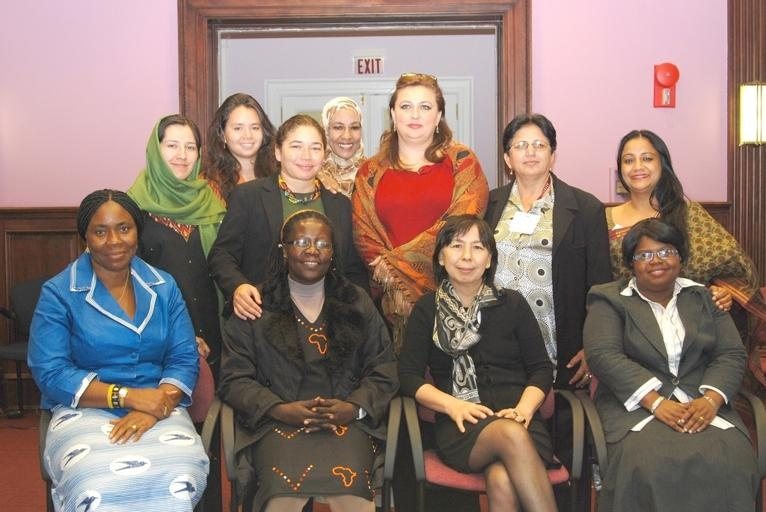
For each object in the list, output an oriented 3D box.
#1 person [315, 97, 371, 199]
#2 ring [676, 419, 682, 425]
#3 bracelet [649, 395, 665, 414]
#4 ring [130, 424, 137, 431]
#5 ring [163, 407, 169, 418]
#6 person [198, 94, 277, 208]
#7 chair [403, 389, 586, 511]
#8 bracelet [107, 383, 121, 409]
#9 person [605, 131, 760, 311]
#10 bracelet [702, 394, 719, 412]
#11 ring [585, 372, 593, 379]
[{"bbox_3d":[-0.295,-0.725,4.877,0.401,0.915,0.310,-6,34,-14],"label":"person"},{"bbox_3d":[1.499,0.841,3.348,0.023,0.022,0.009,-25,-10,16],"label":"ring"},{"bbox_3d":[1.409,0.761,3.406,0.032,0.082,0.062,22,-1,-15],"label":"bracelet"},{"bbox_3d":[-1.219,0.838,3.236,0.030,0.028,0.008,2,-7,-23],"label":"ring"},{"bbox_3d":[-1.091,0.791,3.342,0.011,0.040,0.030,1,-26,34],"label":"ring"},{"bbox_3d":[-0.927,-0.738,4.347,0.539,0.705,0.400,-15,34,-27],"label":"person"},{"bbox_3d":[0.576,0.992,3.598,0.679,0.966,0.677,1,-15,-4],"label":"chair"},{"bbox_3d":[-1.333,0.698,3.298,0.072,0.106,0.099,0,-15,0],"label":"bracelet"},{"bbox_3d":[1.749,-0.076,4.176,0.913,1.285,0.461,-9,8,31],"label":"person"},{"bbox_3d":[1.689,0.752,3.436,0.069,0.070,0.072,-40,20,33],"label":"bracelet"},{"bbox_3d":[1.177,0.682,3.764,0.043,0.057,0.017,0,4,6],"label":"ring"}]
